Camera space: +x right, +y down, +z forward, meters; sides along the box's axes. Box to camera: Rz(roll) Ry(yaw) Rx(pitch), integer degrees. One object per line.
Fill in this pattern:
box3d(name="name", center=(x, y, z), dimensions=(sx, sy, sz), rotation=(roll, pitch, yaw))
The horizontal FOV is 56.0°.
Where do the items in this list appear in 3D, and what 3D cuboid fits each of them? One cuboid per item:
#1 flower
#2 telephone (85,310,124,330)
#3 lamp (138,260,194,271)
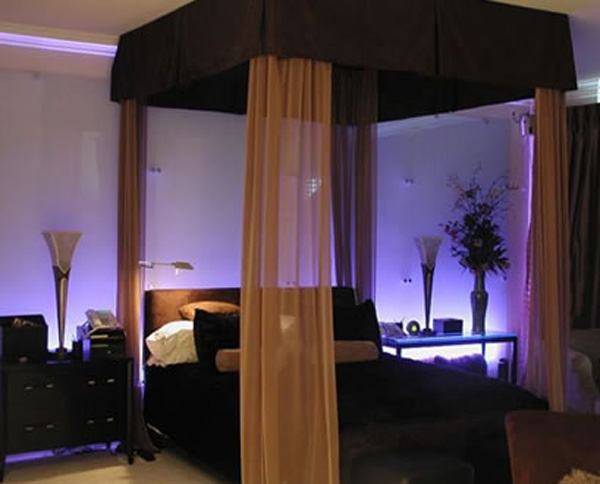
box3d(name="flower", center=(2.212, -0.255, 6.680), dimensions=(0.910, 1.308, 0.720), rotation=(-2, -1, -29))
box3d(name="telephone", center=(-1.662, 0.650, 4.744), dimensions=(0.219, 0.112, 0.379), rotation=(-3, -2, -28))
box3d(name="lamp", center=(-1.231, 0.221, 5.276), dimensions=(0.474, 0.129, 0.580), rotation=(-3, -1, -12))
